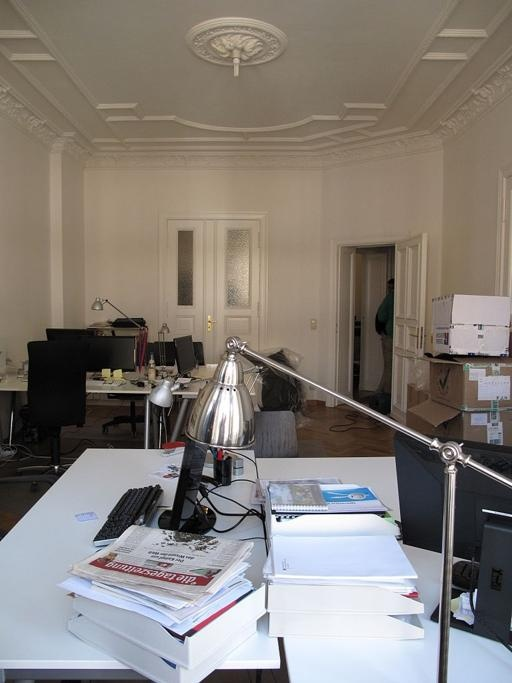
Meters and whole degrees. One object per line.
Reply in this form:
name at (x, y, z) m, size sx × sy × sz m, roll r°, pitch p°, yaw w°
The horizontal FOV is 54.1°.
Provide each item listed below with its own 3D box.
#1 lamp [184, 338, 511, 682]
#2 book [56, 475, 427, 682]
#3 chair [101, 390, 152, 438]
lamp at (0.118, 0.286, 0.841) m, size 0.460 × 0.578 × 0.428 m, roll 0°, pitch 3°, yaw -8°
book at (0.022, 0.440, 0.914) m, size 0.379 × 0.089 × 0.387 m, roll 0°, pitch 4°, yaw 4°
chair at (-1.330, 0.758, 5.236) m, size 0.505 × 0.562 × 0.569 m, roll 2°, pitch 0°, yaw -10°
